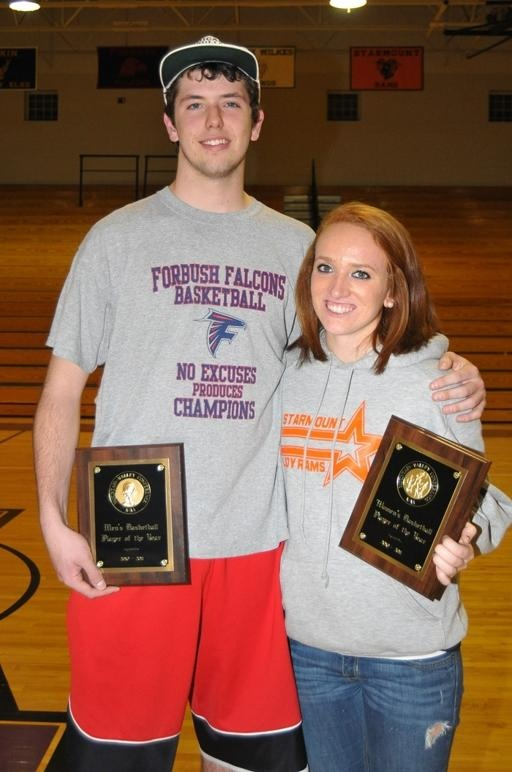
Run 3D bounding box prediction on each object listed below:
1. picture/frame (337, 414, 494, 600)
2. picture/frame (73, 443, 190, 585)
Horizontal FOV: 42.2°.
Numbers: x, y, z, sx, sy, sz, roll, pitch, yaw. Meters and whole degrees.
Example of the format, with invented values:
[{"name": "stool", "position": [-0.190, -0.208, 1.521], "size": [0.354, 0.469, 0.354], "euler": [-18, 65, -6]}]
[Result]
[{"name": "picture/frame", "position": [0.316, 0.220, 1.252], "size": [0.241, 0.314, 0.106], "euler": [30, 15, 23]}, {"name": "picture/frame", "position": [-0.239, 0.251, 1.274], "size": [0.294, 0.349, 0.040], "euler": [-2, 1, 5]}]
